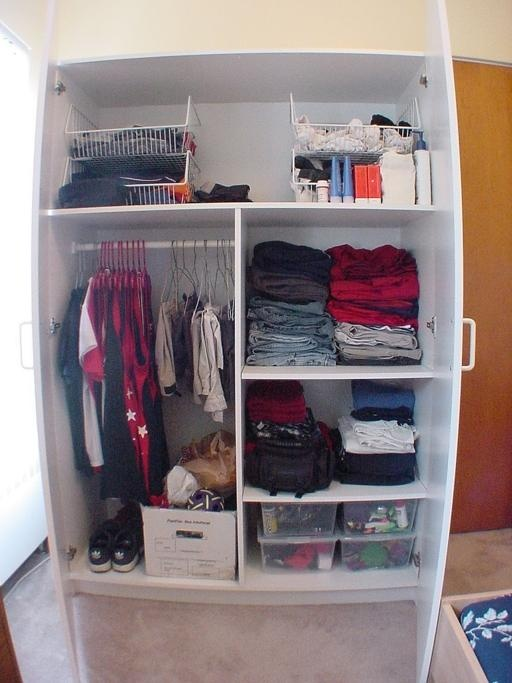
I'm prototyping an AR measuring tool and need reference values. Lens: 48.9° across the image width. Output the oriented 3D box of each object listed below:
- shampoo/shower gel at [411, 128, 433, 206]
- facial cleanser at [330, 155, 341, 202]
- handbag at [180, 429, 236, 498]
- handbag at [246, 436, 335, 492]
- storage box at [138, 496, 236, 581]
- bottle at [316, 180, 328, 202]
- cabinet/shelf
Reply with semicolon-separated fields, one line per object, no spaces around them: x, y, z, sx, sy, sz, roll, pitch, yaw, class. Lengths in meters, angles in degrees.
0.579;-0.602;1.962;0.065;0.271;0.136;-2;8;-2;shampoo/shower gel
0.291;-0.581;2.033;0.038;0.159;0.082;2;9;25;facial cleanser
-0.196;0.490;2.291;0.228;0.099;0.237;4;10;34;handbag
0.121;0.467;2.120;0.213;0.110;0.226;0;-2;5;handbag
-0.236;0.739;2.079;0.421;0.340;0.248;1;3;6;storage box
0.241;-0.540;2.033;0.043;0.077;0.050;0;8;6;bottle
-0.041;-0.108;2.098;1.389;2.435;0.994;-3;8;-10;cabinet/shelf
